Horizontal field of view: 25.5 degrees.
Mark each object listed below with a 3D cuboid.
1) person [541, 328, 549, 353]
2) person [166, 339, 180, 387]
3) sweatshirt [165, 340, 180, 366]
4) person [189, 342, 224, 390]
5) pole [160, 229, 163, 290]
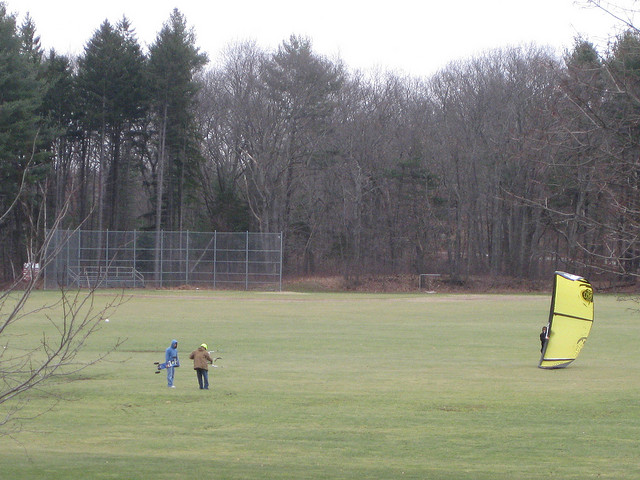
[{"bbox_3d":[12.900,5.598,81.814,0.264,1.000,0.748,4,-7,0],"label":"person"},{"bbox_3d":[-8.203,6.782,78.714,0.711,2.551,1.509,1,-4,-6],"label":"person"},{"bbox_3d":[-8.213,6.093,78.489,0.585,1.209,0.989,1,-4,-10],"label":"sweatshirt"},{"bbox_3d":[-6.586,6.945,78.604,1.276,2.478,0.940,1,-4,-2],"label":"person"},{"bbox_3d":[-12.447,1.532,111.132,0.162,4.098,0.387,1,-4,-9],"label":"pole"}]
